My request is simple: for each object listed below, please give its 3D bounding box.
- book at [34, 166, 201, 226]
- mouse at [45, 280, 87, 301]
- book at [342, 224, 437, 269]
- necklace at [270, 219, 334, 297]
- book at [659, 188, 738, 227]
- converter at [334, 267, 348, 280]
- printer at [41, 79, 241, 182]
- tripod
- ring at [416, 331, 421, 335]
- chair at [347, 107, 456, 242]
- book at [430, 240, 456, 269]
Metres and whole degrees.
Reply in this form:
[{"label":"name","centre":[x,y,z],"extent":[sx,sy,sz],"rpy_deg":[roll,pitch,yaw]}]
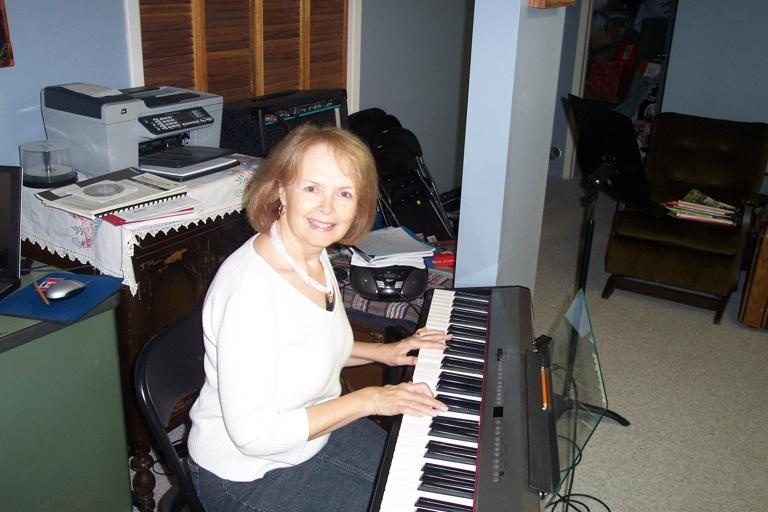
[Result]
[{"label":"book","centre":[-1.258,-0.301,2.661],"extent":[0.331,0.050,0.359],"rpy_deg":[22,32,32]},{"label":"mouse","centre":[-1.321,0.122,2.377],"extent":[0.075,0.040,0.125],"rpy_deg":[19,28,17]},{"label":"book","centre":[0.023,-0.026,2.822],"extent":[0.254,0.068,0.251],"rpy_deg":[-5,25,-13]},{"label":"necklace","centre":[-0.301,0.025,2.065],"extent":[0.047,0.256,0.222],"rpy_deg":[-25,-2,26]},{"label":"book","centre":[2.410,-0.365,4.398],"extent":[0.492,0.175,0.275],"rpy_deg":[12,28,20]},{"label":"converter","centre":[-0.212,0.079,2.818],"extent":[0.046,0.017,0.064],"rpy_deg":[8,34,-3]},{"label":"printer","centre":[-1.229,-0.679,3.042],"extent":[0.749,0.385,0.783],"rpy_deg":[18,25,26]},{"label":"tripod","centre":[1.151,0.320,3.478],"extent":[0.587,1.348,0.588],"rpy_deg":[-6,-22,39]},{"label":"ring","centre":[0.131,0.305,2.281],"extent":[0.013,0.010,0.013],"rpy_deg":[-1,-4,0]},{"label":"chair","centre":[0.100,-0.535,3.652],"extent":[0.501,0.894,0.241],"rpy_deg":[-16,-11,-1]},{"label":"book","centre":[0.312,-0.003,3.016],"extent":[0.139,0.037,0.139],"rpy_deg":[6,46,14]}]
